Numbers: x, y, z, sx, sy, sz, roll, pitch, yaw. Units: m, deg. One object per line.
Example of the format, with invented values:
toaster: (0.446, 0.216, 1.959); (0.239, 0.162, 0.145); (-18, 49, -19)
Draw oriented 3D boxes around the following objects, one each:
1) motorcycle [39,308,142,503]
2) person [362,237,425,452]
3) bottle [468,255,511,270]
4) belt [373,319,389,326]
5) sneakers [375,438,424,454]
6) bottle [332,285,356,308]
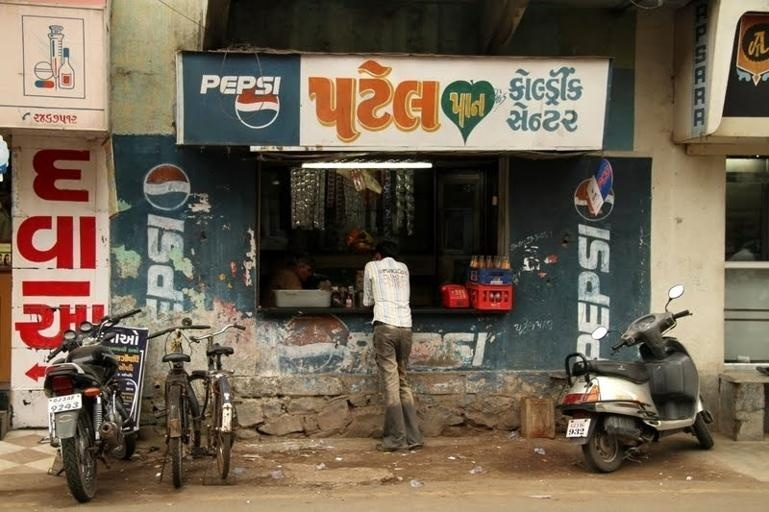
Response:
motorcycle: (-3.450, 1.748, 11.395); (0.742, 2.197, 1.284); (-2, -2, 12)
person: (0.093, 1.162, 12.732); (0.703, 2.741, 0.407); (-1, -2, -11)
bottle: (1.442, 0.099, 13.186); (0.557, 0.208, 0.265); (-2, -3, 5)
belt: (-0.070, 0.877, 12.640); (0.255, 0.071, 0.067); (-4, -4, 38)
sneakers: (0.199, 2.473, 12.577); (0.608, 0.147, 0.236); (-2, -3, 1)
bottle: (-0.560, 0.566, 13.279); (0.344, 0.294, 0.367); (-2, -3, 0)
